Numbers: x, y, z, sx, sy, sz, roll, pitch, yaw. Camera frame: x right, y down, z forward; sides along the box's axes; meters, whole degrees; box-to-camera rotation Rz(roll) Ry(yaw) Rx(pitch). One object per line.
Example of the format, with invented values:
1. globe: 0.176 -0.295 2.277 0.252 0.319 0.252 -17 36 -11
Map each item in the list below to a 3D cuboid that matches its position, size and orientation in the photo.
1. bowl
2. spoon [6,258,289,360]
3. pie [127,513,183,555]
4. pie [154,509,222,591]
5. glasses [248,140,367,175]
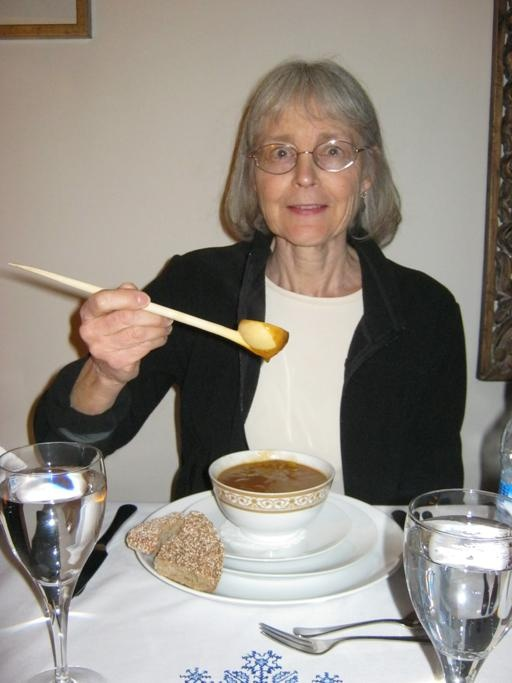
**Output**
1. bowl: 0.029 0.244 1.083 0.188 0.077 0.190 0 13 0
2. spoon: -0.257 -0.100 1.689 0.688 0.102 0.136 20 -3 -10
3. pie: -0.154 0.280 1.000 0.061 0.026 0.106 11 15 24
4. pie: -0.098 0.292 0.945 0.095 0.032 0.140 2 31 -13
5. glasses: 0.124 -0.457 1.664 0.272 0.084 0.112 1 12 7
